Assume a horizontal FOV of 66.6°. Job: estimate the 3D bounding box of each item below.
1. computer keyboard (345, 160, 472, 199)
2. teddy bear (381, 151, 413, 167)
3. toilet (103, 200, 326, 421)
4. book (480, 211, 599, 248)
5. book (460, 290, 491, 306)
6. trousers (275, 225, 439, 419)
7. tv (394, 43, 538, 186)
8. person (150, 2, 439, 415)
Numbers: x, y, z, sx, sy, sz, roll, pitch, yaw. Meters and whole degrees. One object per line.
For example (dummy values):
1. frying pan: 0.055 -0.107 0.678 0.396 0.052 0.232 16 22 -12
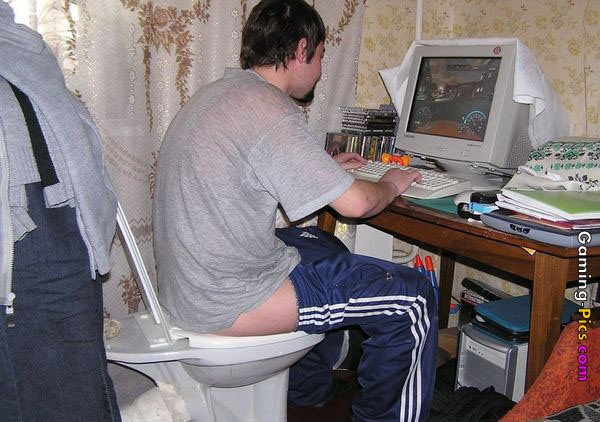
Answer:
1. computer keyboard: 0.398 -0.131 1.729 0.356 0.089 0.422 -3 14 -22
2. teddy bear: 0.408 -0.219 1.947 0.091 0.040 0.090 3 12 -12
3. toilet: -0.247 0.273 1.752 0.865 0.914 0.487 -6 23 -21
4. book: 0.622 0.052 1.219 0.288 0.050 0.094 12 16 36
5. book: 0.775 0.398 2.050 0.046 0.055 0.126 -3 14 -22
6. trousers: 0.169 0.386 1.470 0.323 0.522 0.554 -19 30 -29
7. tv: 0.666 -0.380 1.797 0.315 0.519 0.482 -16 24 -33
8. person: -0.005 0.098 1.367 0.849 1.006 0.319 4 13 9
